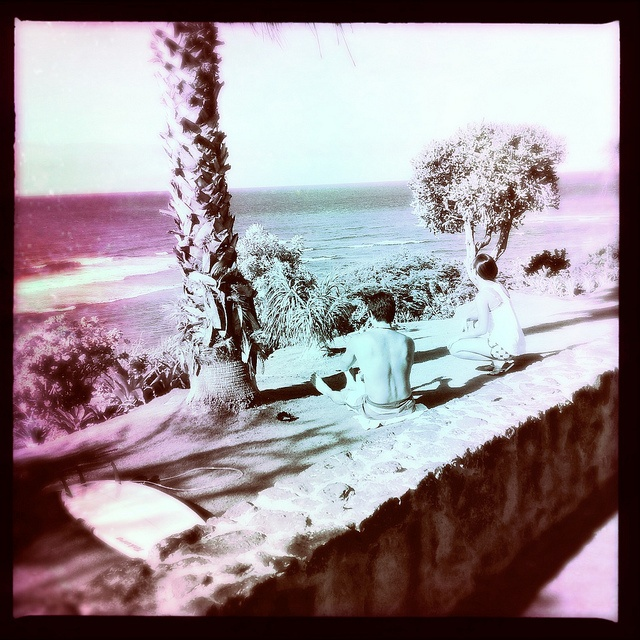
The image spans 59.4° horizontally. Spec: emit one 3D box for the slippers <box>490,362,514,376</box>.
[{"bbox_3d":[1.672,0.423,5.124,0.253,0.118,0.040,-10,8,-13],"label":"slippers"}]

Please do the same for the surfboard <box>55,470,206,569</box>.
[{"bbox_3d":[-1.509,1.532,4.408,1.112,0.514,0.440,-5,8,22],"label":"surfboard"}]

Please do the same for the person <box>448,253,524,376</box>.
[{"bbox_3d":[1.525,-0.047,5.278,0.746,1.117,0.659,-14,10,-36],"label":"person"}]

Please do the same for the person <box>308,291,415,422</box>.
[{"bbox_3d":[0.385,0.283,5.099,0.926,1.117,0.968,-5,11,-9],"label":"person"}]
